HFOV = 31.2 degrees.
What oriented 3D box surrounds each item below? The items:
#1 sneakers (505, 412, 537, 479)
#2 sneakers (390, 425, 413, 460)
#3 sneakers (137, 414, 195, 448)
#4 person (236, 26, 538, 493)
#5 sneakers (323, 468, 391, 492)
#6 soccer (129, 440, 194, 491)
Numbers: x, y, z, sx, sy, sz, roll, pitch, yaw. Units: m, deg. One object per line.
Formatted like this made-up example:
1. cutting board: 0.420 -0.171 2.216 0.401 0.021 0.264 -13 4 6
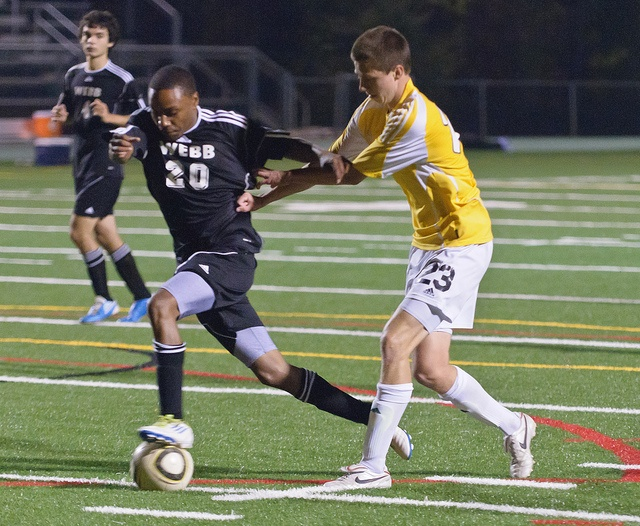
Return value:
1. sneakers: 1.179 1.081 6.837 0.190 0.363 0.132 20 -28 -26
2. sneakers: 0.487 1.062 6.875 0.111 0.240 0.088 17 51 42
3. sneakers: -0.857 0.954 6.580 0.335 0.140 0.179 16 46 -11
4. person: 0.514 -0.083 6.793 1.570 2.594 1.117 3 12 14
5. sneakers: 0.229 1.235 6.591 0.417 0.134 0.129 1 -6 -8
6. soccer: -0.886 1.158 6.614 0.366 0.314 0.329 0 -16 -30
